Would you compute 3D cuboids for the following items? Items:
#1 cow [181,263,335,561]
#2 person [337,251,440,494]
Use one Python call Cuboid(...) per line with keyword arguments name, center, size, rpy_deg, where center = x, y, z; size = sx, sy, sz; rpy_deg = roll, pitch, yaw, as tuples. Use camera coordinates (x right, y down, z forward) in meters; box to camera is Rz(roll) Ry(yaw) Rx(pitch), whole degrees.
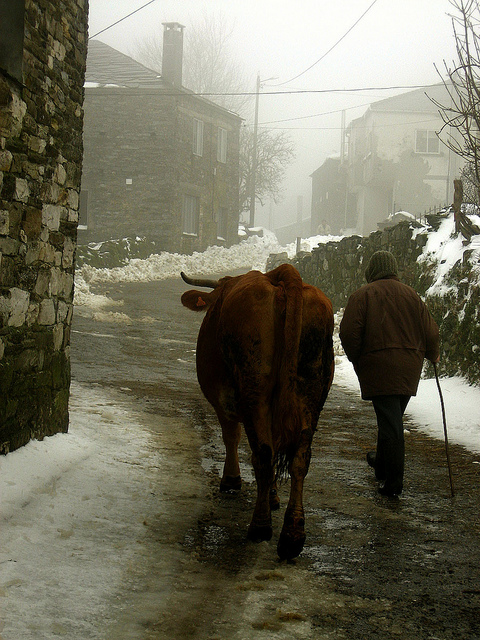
Cuboid(name="cow", center=(0.087, 0.482, 4.835), size=(1.037, 1.879, 2.730), rpy_deg=(3, -3, -9))
Cuboid(name="person", center=(1.066, 0.319, 5.004), size=(0.672, 1.552, 0.915), rpy_deg=(3, 1, 24))
